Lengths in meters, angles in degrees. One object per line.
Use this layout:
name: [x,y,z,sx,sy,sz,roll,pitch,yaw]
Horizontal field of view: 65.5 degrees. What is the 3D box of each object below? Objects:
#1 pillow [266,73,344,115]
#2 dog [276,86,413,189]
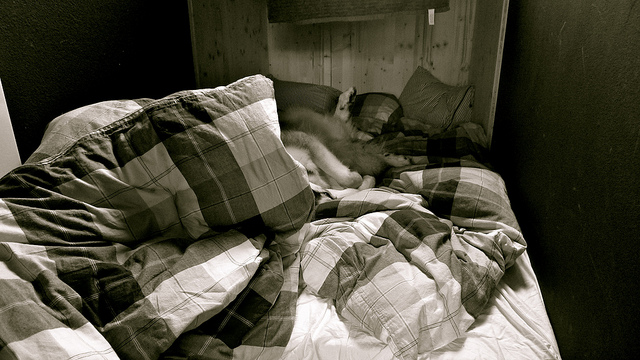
pillow: [-0.095,-0.590,3.500,0.395,0.114,0.343,5,46,-7]
dog: [0.073,-0.230,3.197,0.569,0.263,0.731,-15,35,-23]
